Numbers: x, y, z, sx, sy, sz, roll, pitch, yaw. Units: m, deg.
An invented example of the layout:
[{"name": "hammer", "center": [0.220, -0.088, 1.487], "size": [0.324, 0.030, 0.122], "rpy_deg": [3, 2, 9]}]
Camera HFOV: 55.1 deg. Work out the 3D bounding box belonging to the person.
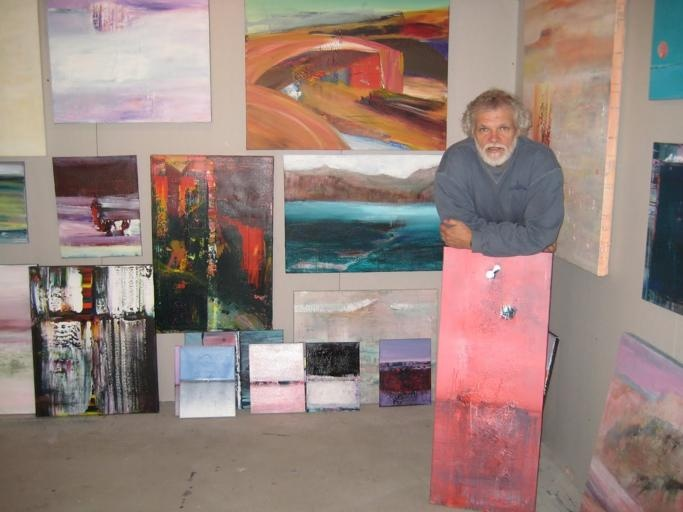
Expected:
[{"name": "person", "center": [0.871, -0.470, 3.671], "size": [0.687, 0.922, 0.286], "rpy_deg": [-1, 5, 11]}]
